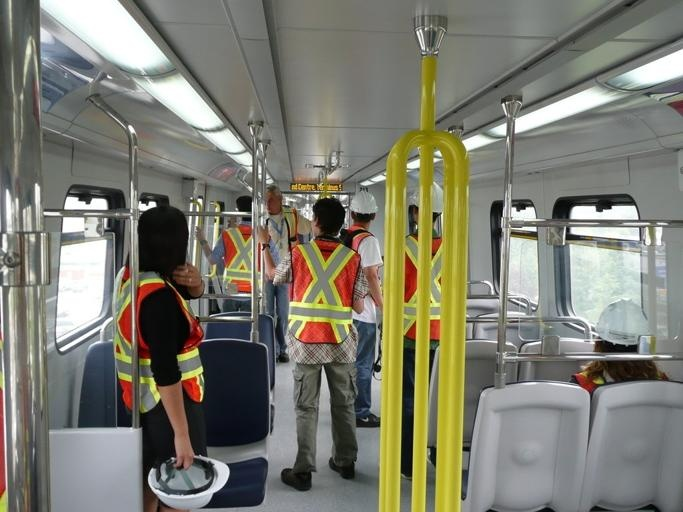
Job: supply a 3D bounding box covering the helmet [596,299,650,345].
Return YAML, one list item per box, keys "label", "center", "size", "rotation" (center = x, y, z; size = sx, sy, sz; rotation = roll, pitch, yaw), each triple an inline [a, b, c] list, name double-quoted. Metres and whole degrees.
- label: "helmet"
  center: [1.867, 0.438, 3.559]
  size: [0.234, 0.220, 0.315]
  rotation: [5, 1, 36]

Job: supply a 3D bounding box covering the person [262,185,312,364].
- label: "person"
  center: [-0.849, 0.351, 7.621]
  size: [0.815, 2.715, 0.728]
  rotation: [4, 14, -1]

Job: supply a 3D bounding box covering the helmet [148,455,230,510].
- label: "helmet"
  center: [-0.692, 1.039, 2.431]
  size: [0.280, 0.146, 0.252]
  rotation: [10, 10, 17]

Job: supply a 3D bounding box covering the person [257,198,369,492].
- label: "person"
  center: [-0.157, 0.701, 4.375]
  size: [0.734, 2.351, 0.326]
  rotation: [2, -1, -8]

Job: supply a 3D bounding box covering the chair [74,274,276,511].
- label: "chair"
  center: [-1.096, 0.919, 3.917]
  size: [1.325, 1.350, 1.203]
  rotation: [1, -9, -6]

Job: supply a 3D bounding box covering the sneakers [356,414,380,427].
- label: "sneakers"
  center: [0.289, 1.768, 5.670]
  size: [0.278, 0.137, 0.102]
  rotation: [-1, -4, -7]

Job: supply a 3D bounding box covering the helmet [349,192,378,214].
- label: "helmet"
  center: [0.273, -0.591, 6.148]
  size: [0.240, 0.205, 0.338]
  rotation: [4, 5, -5]
